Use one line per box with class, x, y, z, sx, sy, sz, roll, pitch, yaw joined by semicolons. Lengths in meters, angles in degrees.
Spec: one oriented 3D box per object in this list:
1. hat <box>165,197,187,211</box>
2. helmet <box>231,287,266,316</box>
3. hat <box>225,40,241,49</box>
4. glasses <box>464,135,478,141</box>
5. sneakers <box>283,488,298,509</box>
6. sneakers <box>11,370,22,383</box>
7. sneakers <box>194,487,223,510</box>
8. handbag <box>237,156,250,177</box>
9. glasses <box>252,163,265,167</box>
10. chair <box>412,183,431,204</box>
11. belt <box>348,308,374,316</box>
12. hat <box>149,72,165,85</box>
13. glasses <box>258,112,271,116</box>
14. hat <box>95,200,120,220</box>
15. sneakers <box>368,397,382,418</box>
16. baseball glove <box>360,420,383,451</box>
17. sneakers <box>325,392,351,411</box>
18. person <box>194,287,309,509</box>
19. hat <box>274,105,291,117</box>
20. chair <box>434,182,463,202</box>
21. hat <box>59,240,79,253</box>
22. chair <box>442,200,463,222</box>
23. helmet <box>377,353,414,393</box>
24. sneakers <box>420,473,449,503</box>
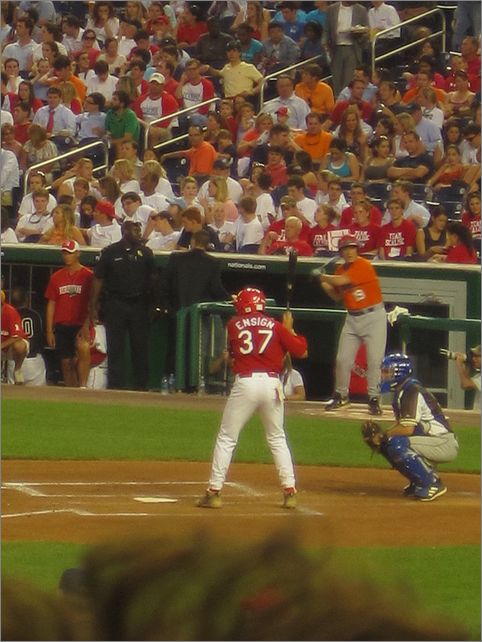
hat;-0.693;-1.323;13.879;0.256;0.101;0.176;21;2;7
helmet;0.055;-0.113;7.157;0.133;0.150;0.180;-3;7;-39
hat;-0.114;-3.677;16.595;0.170;0.159;0.232;-2;7;6
glasses;2.489;-1.992;13.520;0.128;0.039;0.134;-1;2;39
sneakers;0.271;0.984;6.923;0.099;0.132;0.276;0;-9;-1
sneakers;-2.197;0.553;12.343;0.069;0.065;0.144;-4;44;-15
sneakers;-0.186;0.983;6.889;0.162;0.119;0.071;6;5;40
handbag;0.038;-1.866;14.959;0.088;0.192;0.273;15;-7;-31
glasses;0.189;-1.727;13.710;0.092;0.040;0.121;0;0;7
chair;1.935;-1.382;13.402;0.178;0.256;0.221;0;2;15
belt;1.029;-0.088;10.801;0.248;0.077;0.058;5;-8;42
hat;-1.113;-3.240;16.528;0.166;0.101;0.262;5;6;3
glasses;0.276;-2.459;14.837;0.140;0.050;0.080;11;-6;5
hat;-1.417;-1.203;13.286;0.223;0.114;0.136;24;9;-24
sneakers;1.169;0.757;10.921;0.138;0.184;0.414;-2;-6;0
baseball glove;0.842;0.695;7.770;0.067;0.180;0.127;-16;-14;-48
sneakers;0.865;0.715;11.230;0.292;0.183;0.105;-6;5;0
person;0.069;0.434;7.012;0.582;1.244;0.445;2;-11;-6
hat;0.495;-2.528;14.869;0.157;0.091;0.108;20;-9;-39
chair;2.209;-1.361;13.221;0.249;0.223;0.195;1;-6;16
hat;-1.671;-0.739;12.253;0.166;0.115;0.185;12;-6;-10
chair;2.225;-1.155;13.039;0.237;0.302;0.230;-1;-4;3
helmet;0.951;0.336;7.845;0.224;0.265;0.219;2;-2;-1
sneakers;1.172;1.037;7.666;0.180;0.168;0.150;13;-6;-13
